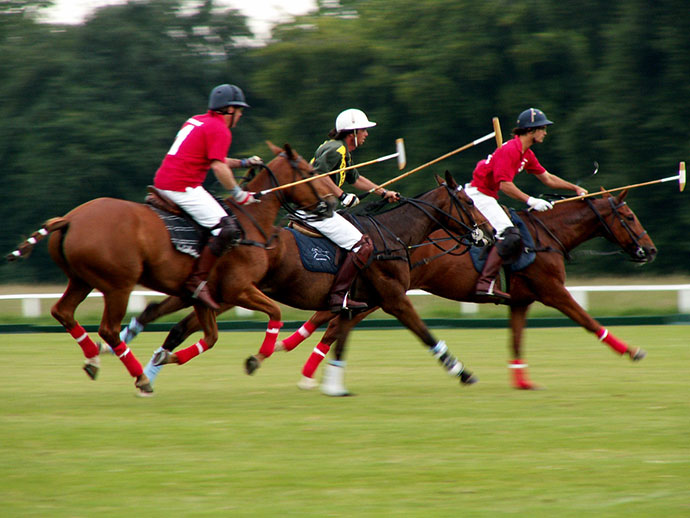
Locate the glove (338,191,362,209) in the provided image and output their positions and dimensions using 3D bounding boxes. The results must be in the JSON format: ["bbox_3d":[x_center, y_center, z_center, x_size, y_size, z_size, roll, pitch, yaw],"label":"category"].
[{"bbox_3d":[0.038,-0.523,10.215,0.163,0.067,0.256,11,1,4],"label":"glove"}]

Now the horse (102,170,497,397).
[{"bbox_3d":[-0.678,0.161,9.659,1.144,1.716,5.208,6,4,44],"label":"horse"}]

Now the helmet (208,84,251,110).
[{"bbox_3d":[-1.024,-1.394,9.723,0.514,0.139,0.255,0,8,-6],"label":"helmet"}]
